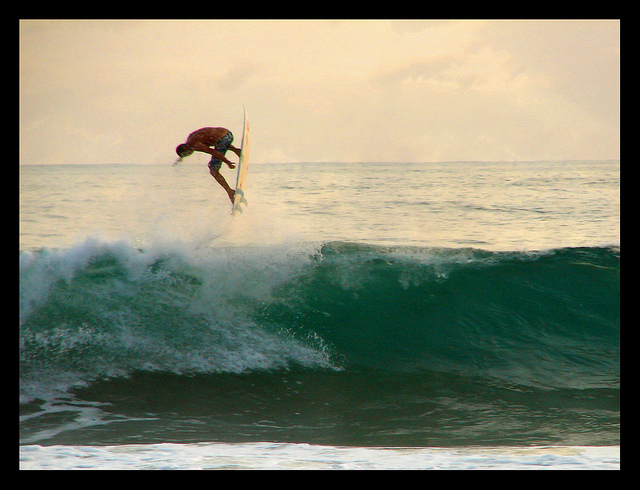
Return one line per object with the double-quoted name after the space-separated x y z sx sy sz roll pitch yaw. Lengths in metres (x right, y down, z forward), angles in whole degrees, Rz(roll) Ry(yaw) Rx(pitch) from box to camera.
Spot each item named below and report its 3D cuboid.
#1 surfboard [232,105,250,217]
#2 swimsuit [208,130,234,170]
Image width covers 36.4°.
-1.759 -1.898 22.004 0.394 2.456 1.263 -1 3 -5 "surfboard"
-2.172 -2.127 21.736 0.545 0.860 0.322 -1 3 -5 "swimsuit"
